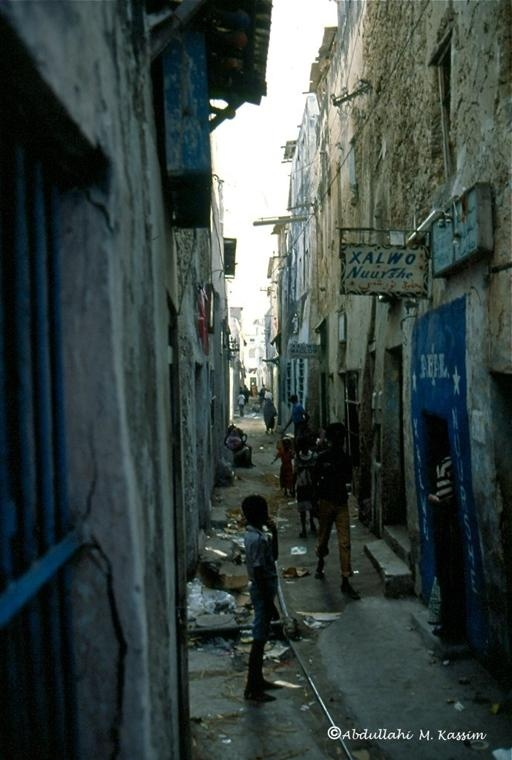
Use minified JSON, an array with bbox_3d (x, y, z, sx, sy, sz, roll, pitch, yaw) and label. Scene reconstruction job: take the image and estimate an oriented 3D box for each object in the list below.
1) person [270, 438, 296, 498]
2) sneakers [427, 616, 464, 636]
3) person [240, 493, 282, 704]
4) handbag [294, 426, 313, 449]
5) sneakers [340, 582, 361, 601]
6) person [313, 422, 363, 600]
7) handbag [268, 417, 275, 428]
[{"bbox_3d":[0.401,1.166,11.216,0.206,0.916,0.277,-7,31,-8],"label":"person"},{"bbox_3d":[1.076,1.442,4.663,0.106,0.071,0.120,6,-3,-1],"label":"sneakers"},{"bbox_3d":[0.019,1.157,4.366,0.183,1.044,0.390,-1,1,1],"label":"person"},{"bbox_3d":[0.634,0.780,10.775,0.252,0.397,0.534,-1,-2,2],"label":"handbag"},{"bbox_3d":[0.695,1.579,5.977,0.128,0.199,0.065,-4,-1,44],"label":"sneakers"},{"bbox_3d":[0.605,1.001,6.281,0.307,1.268,0.821,-1,1,3],"label":"person"},{"bbox_3d":[0.450,1.269,23.017,0.164,0.558,0.235,2,-1,0],"label":"handbag"}]
